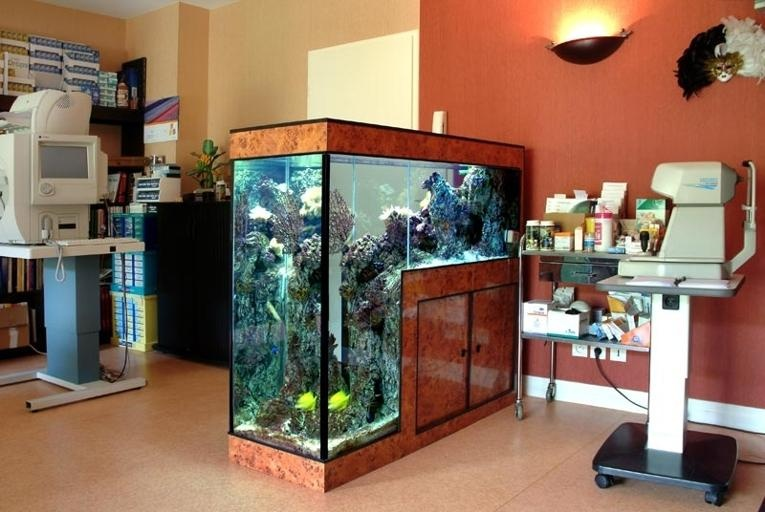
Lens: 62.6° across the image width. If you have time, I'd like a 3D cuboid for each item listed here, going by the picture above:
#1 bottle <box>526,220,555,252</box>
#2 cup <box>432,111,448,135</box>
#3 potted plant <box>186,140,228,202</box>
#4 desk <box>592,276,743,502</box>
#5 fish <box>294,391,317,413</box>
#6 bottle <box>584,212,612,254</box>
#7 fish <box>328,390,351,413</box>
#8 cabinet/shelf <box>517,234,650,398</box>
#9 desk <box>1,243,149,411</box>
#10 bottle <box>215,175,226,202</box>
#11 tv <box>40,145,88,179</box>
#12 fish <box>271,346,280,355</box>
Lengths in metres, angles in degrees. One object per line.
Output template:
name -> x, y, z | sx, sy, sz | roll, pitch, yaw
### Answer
bottle -> 1.133, -0.163, 4.628 | 0.207, 0.223, 0.206 | 1, 2, -11
cup -> 0.468, -1.062, 4.967 | 0.102, 0.156, 0.088 | 0, 11, 2
potted plant -> -1.738, -0.913, 6.448 | 0.408, 0.555, 1.030 | -3, 12, -17
desk -> 1.867, 0.698, 4.516 | 1.213, 1.742, 1.171 | 1, 3, 26
fish -> -0.427, 0.860, 3.749 | 0.093, 0.074, 0.140 | 0, 26, 27
bottle -> 1.556, -0.183, 4.489 | 0.210, 0.284, 0.117 | 2, 11, 8
fish -> -0.243, 0.859, 3.751 | 0.158, 0.120, 0.012 | -10, 14, -39
cabinet/shelf -> 1.499, 0.423, 4.588 | 1.262, 1.296, 0.521 | 2, 2, 39
desk -> -2.382, 0.468, 5.649 | 1.193, 1.551, 1.351 | 5, 6, 41
bottle -> -1.531, -0.642, 6.103 | 0.110, 0.173, 0.418 | -3, 12, -14
tv -> -2.448, -0.735, 4.880 | 0.277, 0.231, 0.095 | -1, 0, -44
fish -> -0.630, 0.565, 3.814 | 0.062, 0.049, 0.007 | 6, 12, 27
